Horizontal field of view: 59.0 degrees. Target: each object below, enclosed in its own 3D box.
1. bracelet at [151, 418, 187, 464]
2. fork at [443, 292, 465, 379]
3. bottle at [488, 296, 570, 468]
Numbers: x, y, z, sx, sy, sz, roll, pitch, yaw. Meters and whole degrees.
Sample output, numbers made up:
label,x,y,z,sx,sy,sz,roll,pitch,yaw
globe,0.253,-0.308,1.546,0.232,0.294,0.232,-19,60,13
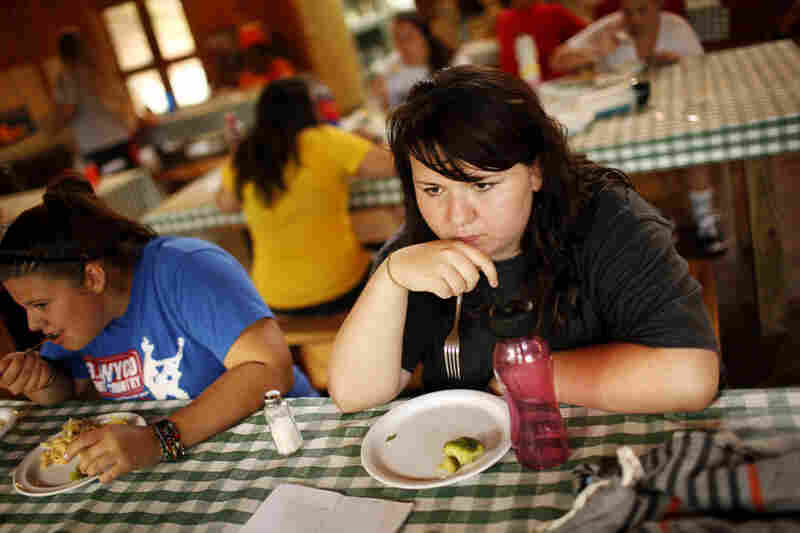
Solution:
label,x,y,z,sx,sy,sz,roll,pitch,yaw
bracelet,-0.714,0.539,2.181,0.096,0.119,0.046,-13,-30,-49
fork,0.174,0.202,2.262,0.043,0.042,0.333,-6,53,21
bottle,0.357,0.308,1.981,0.166,0.449,0.263,-11,18,9
